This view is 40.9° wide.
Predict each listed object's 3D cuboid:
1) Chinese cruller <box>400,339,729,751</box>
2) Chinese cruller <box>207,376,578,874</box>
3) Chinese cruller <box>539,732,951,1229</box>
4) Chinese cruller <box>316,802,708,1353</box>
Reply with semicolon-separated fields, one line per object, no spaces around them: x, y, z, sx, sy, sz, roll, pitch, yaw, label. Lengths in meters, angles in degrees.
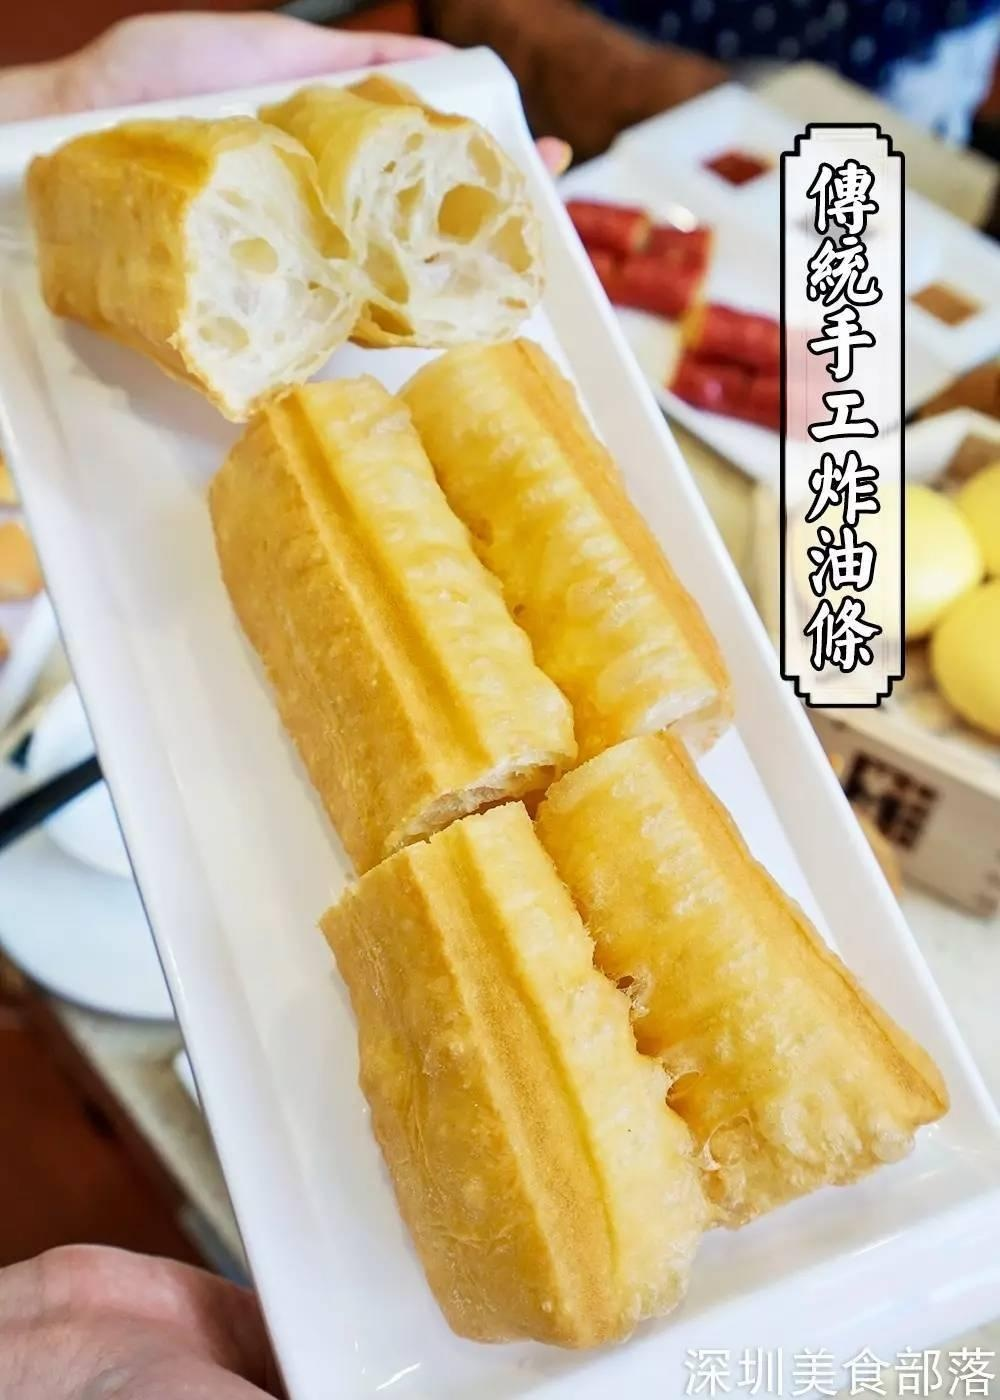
0.029;-0.111;1.087;0.174;0.144;0.348;-21;76;-38;Chinese cruller
-0.110;-0.063;1.048;0.234;0.142;0.375;-25;75;-9;Chinese cruller
0.154;0.193;0.985;0.211;0.122;0.334;-30;75;0;Chinese cruller
0.018;0.231;0.946;0.234;0.133;0.343;-25;79;16;Chinese cruller
